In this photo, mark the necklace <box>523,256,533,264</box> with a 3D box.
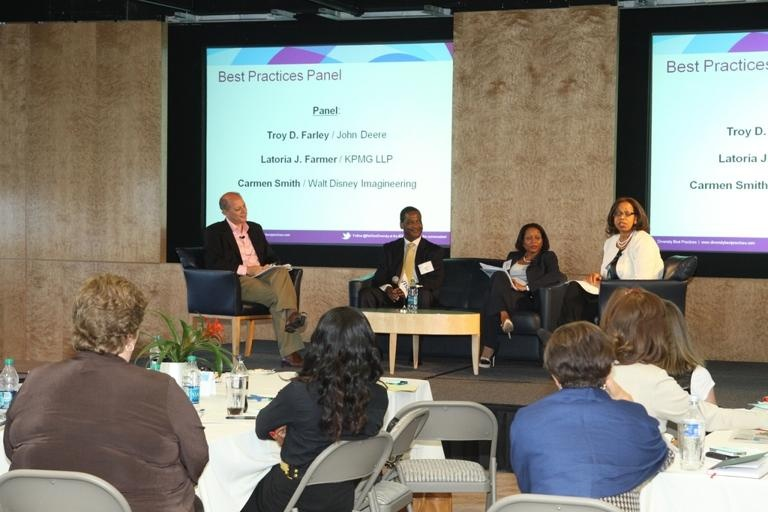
[{"bbox_3d":[1.398,0.038,8.216,0.067,0.020,0.072,-21,17,17],"label":"necklace"}]

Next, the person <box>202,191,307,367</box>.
[{"bbox_3d":[-1.147,0.249,8.102,1.213,1.699,0.727,4,10,42],"label":"person"}]

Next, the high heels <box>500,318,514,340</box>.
[{"bbox_3d":[1.132,0.676,7.756,0.099,0.191,0.062,-14,39,-11],"label":"high heels"}]

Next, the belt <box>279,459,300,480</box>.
[{"bbox_3d":[-0.484,1.097,4.369,0.068,0.049,0.091,14,-4,-30],"label":"belt"}]

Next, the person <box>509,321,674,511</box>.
[{"bbox_3d":[0.991,0.775,4.058,0.755,0.863,0.350,-1,7,8],"label":"person"}]

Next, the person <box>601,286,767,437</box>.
[{"bbox_3d":[1.977,0.672,5.441,0.505,0.926,0.610,-30,23,-29],"label":"person"}]

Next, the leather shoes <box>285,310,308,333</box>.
[{"bbox_3d":[-0.794,0.593,7.622,0.199,0.200,0.434,-1,-4,-5],"label":"leather shoes"}]

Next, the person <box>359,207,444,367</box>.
[{"bbox_3d":[0.157,0.259,8.278,0.979,1.493,0.805,0,7,-41],"label":"person"}]

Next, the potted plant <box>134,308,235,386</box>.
[{"bbox_3d":[-1.356,0.631,5.890,0.639,0.469,0.658,-1,-4,33],"label":"potted plant"}]

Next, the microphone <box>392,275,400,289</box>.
[{"bbox_3d":[0.122,0.256,8.124,0.059,0.098,0.094,-14,17,-38],"label":"microphone"}]

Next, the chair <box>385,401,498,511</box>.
[{"bbox_3d":[0.415,1.099,5.086,0.611,0.879,0.619,0,2,4],"label":"chair"}]
